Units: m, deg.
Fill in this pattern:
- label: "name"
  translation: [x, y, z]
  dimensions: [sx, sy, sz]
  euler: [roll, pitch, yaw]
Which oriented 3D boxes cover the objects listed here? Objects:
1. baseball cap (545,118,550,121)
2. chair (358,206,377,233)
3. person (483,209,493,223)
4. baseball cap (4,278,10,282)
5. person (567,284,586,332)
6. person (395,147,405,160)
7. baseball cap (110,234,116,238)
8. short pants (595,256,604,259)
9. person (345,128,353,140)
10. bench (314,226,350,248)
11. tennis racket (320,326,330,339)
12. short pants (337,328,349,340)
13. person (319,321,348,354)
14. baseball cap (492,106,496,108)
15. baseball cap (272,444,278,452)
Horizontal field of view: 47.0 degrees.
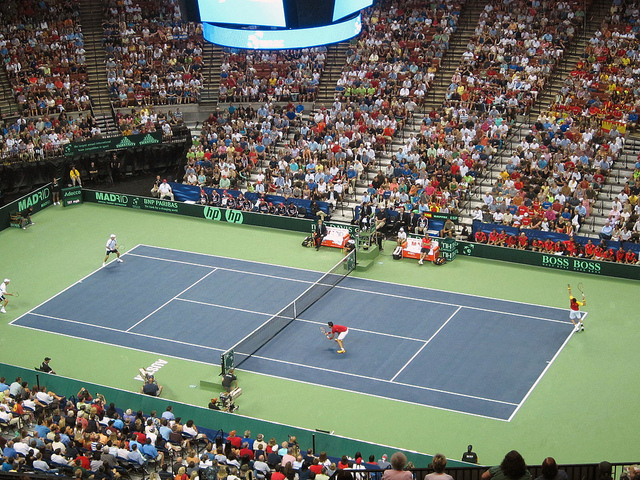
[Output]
- label: "baseball cap"
  translation: [14.142, -7.506, 45.991]
  dimensions: [0.235, 0.148, 0.363]
  euler: [14, 29, 21]
- label: "chair"
  translation: [2.730, -1.130, 42.674]
  dimensions: [1.102, 1.481, 3.813]
  euler: [0, 8, 8]
- label: "person"
  translation: [9.444, -1.306, 41.662]
  dimensions: [0.672, 0.958, 0.282]
  euler: [2, 5, 28]
- label: "baseball cap"
  translation: [-16.242, 2.108, 38.416]
  dimensions: [0.208, 0.122, 0.150]
  euler: [-12, 6, -3]
- label: "person"
  translation: [11.952, 3.178, 34.403]
  dimensions: [0.739, 2.497, 0.643]
  euler: [6, 47, 30]
- label: "person"
  translation: [4.975, -5.373, 46.284]
  dimensions: [0.495, 0.542, 1.059]
  euler: [-1, 27, -6]
- label: "baseball cap"
  translation: [-11.647, -0.232, 41.490]
  dimensions: [0.332, 0.233, 0.267]
  euler: [6, 6, 15]
- label: "short pants"
  translation: [14.704, 0.960, 39.003]
  dimensions: [0.437, 0.121, 0.084]
  euler: [16, 28, 23]
- label: "person"
  translation: [1.871, -6.919, 48.448]
  dimensions: [0.606, 0.457, 1.306]
  euler: [-10, 27, 7]
- label: "bench"
  translation: [1.025, -0.303, 43.045]
  dimensions: [1.778, 1.079, 1.121]
  euler: [9, 30, 21]
- label: "tennis racket"
  translation: [0.220, 4.426, 35.134]
  dimensions: [0.154, 0.968, 0.261]
  euler: [-19, 52, 4]
- label: "short pants"
  translation: [1.022, 4.374, 34.021]
  dimensions: [0.427, 0.668, 0.410]
  euler: [0, 25, -5]
- label: "person"
  translation: [0.727, 4.215, 34.075]
  dimensions: [0.996, 1.765, 1.328]
  euler: [0, 25, -4]
- label: "baseball cap"
  translation: [11.246, -8.611, 47.911]
  dimensions: [0.216, 0.133, 0.237]
  euler: [6, 20, 15]
- label: "baseball cap"
  translation: [-1.550, 7.225, 25.621]
  dimensions: [0.161, 0.220, 0.415]
  euler: [4, 27, 5]
